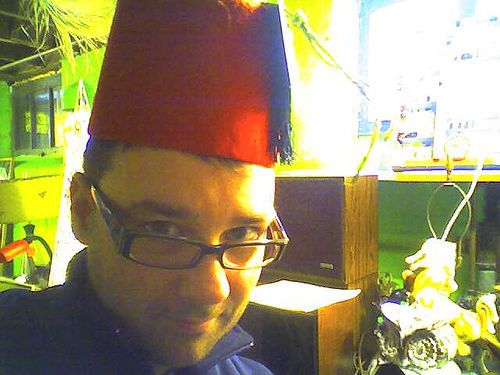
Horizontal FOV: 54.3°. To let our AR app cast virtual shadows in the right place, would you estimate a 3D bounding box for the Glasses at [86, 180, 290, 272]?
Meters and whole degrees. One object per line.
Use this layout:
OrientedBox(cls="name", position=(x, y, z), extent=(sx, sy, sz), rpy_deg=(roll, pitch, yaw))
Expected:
OrientedBox(cls="Glasses", position=(-0.104, 0.083, 0.979), extent=(0.408, 0.166, 0.073), rpy_deg=(1, 3, -22))
